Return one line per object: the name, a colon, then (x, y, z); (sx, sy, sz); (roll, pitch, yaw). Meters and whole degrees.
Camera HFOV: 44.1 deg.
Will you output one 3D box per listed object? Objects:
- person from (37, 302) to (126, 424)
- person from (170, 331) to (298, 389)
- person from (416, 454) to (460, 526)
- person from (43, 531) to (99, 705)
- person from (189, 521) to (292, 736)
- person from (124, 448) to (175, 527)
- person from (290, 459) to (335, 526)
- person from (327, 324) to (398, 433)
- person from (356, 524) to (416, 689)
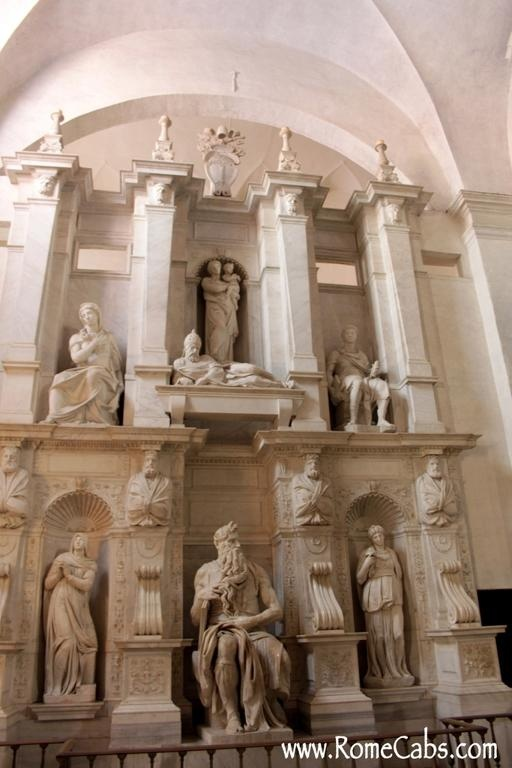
person: (-1.845, -0.196, 6.986); (0.831, 1.561, 0.476); (8, -27, -22)
person: (-0.252, -0.271, 7.061); (1.197, 0.541, 0.634); (1, -11, -5)
person: (1.952, 1.161, 6.940); (0.384, 0.784, 0.196); (-7, -26, 10)
person: (-1.750, 2.166, 5.947); (0.528, 1.502, 0.318); (4, -26, -13)
person: (-0.160, 2.087, 5.668); (0.846, 1.781, 0.698); (0, -25, -5)
person: (-1.058, 1.032, 6.259); (0.438, 0.762, 0.246); (2, -25, -9)
person: (0.578, 1.108, 6.620); (0.420, 0.750, 0.214); (-3, -25, 1)
person: (1.251, 0.047, 7.649); (0.750, 1.229, 0.512); (-5, -25, 5)
person: (1.334, 2.308, 6.644); (0.508, 1.577, 0.450); (-4, -25, 4)
